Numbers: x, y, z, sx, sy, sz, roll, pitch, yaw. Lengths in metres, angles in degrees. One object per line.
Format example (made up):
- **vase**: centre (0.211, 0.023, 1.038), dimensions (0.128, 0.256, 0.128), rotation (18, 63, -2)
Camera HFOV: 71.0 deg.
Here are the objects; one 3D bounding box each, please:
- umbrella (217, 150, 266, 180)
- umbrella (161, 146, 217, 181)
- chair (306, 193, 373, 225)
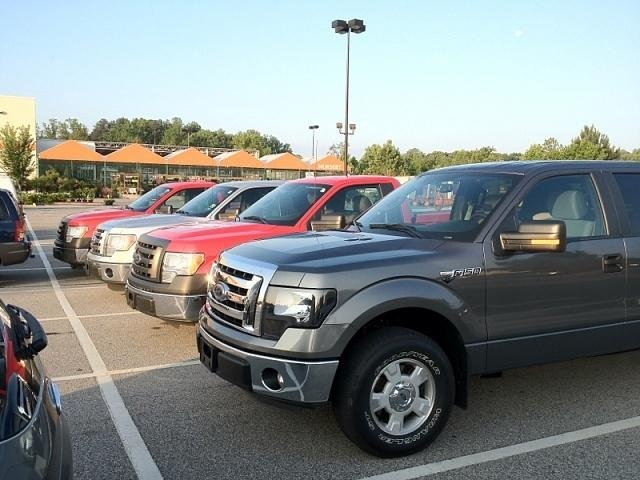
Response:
- **umbrella**: centre (-9.541, -9.895, 53.676), dimensions (5.233, 2.186, 4.890), rotation (-1, 3, -17)
- **umbrella**: centre (-14.790, -9.538, 51.623), dimensions (4.835, 2.192, 4.833), rotation (0, 2, -23)
- **chair**: centre (0.221, -0.500, 6.871), dimensions (0.958, 0.438, 0.564), rotation (-5, 8, -20)
